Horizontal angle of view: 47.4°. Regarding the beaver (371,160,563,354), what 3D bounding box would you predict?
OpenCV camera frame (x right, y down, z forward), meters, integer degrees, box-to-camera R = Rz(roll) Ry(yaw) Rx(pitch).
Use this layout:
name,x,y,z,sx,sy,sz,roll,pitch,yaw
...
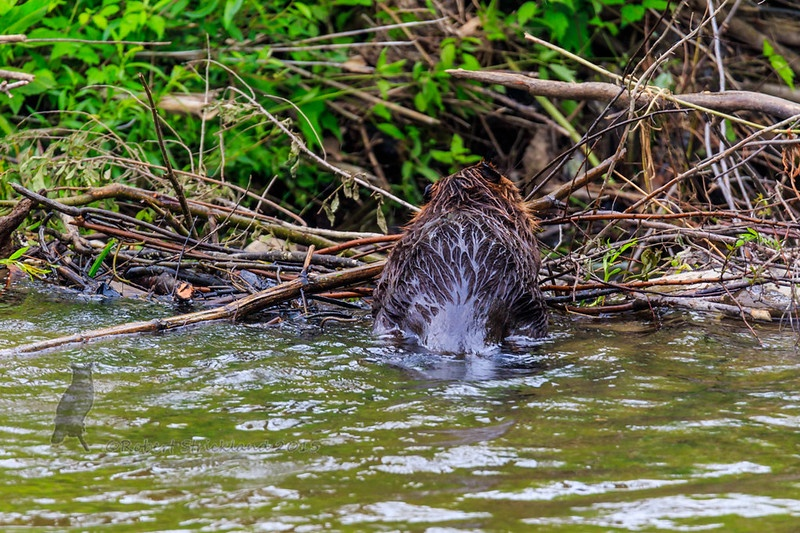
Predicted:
name,x,y,z,sx,sy,sz,roll,pitch,yaw
beaver,0.426,-0.016,6.254,1.188,0.937,1.549,1,52,7
